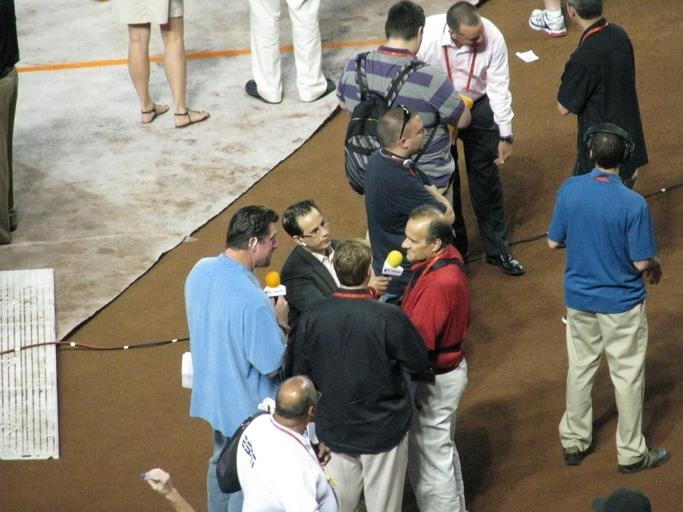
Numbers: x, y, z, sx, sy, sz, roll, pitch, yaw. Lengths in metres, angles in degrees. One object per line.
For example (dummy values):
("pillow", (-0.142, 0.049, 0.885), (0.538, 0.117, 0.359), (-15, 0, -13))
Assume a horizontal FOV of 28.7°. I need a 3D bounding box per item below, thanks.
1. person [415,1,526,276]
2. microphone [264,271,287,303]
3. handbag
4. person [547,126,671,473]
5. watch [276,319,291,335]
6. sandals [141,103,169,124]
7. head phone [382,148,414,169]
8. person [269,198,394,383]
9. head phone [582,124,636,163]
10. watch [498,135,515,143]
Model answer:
("person", (1.308, -1.232, 13.333), (1.063, 2.645, 1.145), (-9, 22, -17))
("microphone", (-0.548, 0.247, 11.379), (0.213, 0.284, 0.207), (-11, 17, 4))
("handbag", (-0.757, 1.560, 10.596), (0.339, 0.649, 0.442), (30, 20, -4))
("person", (2.417, 0.341, 11.922), (1.028, 3.090, 0.919), (2, 18, 15))
("watch", (-0.472, 0.603, 11.338), (0.115, 0.059, 0.083), (25, -19, -24))
("sandals", (-2.142, -1.662, 15.382), (0.154, 0.137, 0.349), (13, 34, 27))
("head phone", (0.521, -0.855, 11.766), (0.202, 0.086, 0.169), (30, 0, 2))
("person", (-0.112, 0.442, 11.916), (0.968, 1.964, 0.872), (-14, 35, -11))
("head phone", (2.303, -0.985, 11.454), (0.413, 0.297, 0.209), (0, 19, 13))
("watch", (1.646, -1.151, 13.143), (0.094, 0.058, 0.080), (3, 16, 16))
